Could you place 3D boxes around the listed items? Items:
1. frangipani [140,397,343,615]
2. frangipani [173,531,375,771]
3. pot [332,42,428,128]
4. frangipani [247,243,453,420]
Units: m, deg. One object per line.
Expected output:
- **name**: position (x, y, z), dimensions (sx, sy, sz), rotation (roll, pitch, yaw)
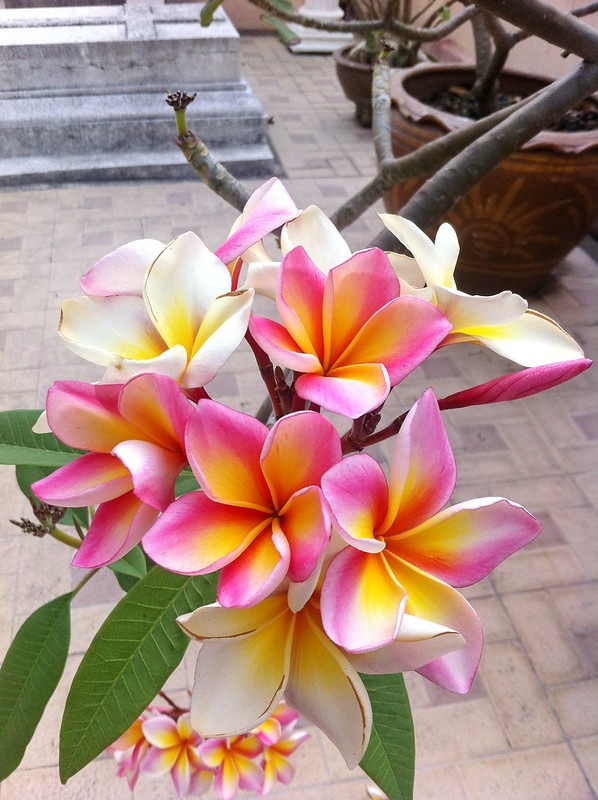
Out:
- **frangipani**: position (-0.030, 0.067, 0.412), dimensions (0.098, 0.103, 0.109), rotation (7, 41, 5)
- **frangipani**: position (0.000, 0.164, 0.480), dimensions (0.149, 0.059, 0.134), rotation (22, 74, 13)
- **pot**: position (0.575, -2.213, 5.090), dimensions (0.633, 0.344, 0.570), rotation (2, 29, 11)
- **frangipani**: position (0.016, -0.028, 0.461), dimensions (0.146, 0.063, 0.119), rotation (10, 71, 4)
